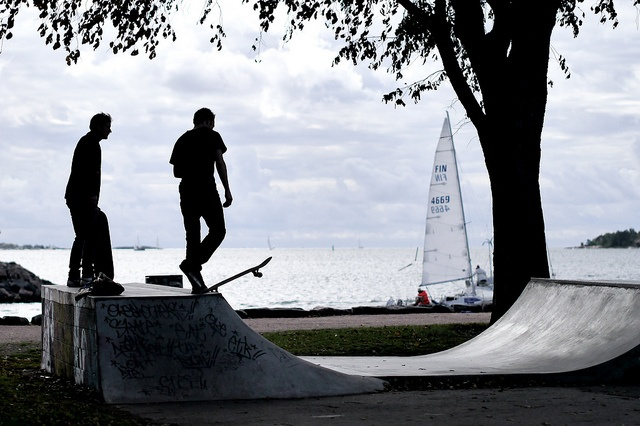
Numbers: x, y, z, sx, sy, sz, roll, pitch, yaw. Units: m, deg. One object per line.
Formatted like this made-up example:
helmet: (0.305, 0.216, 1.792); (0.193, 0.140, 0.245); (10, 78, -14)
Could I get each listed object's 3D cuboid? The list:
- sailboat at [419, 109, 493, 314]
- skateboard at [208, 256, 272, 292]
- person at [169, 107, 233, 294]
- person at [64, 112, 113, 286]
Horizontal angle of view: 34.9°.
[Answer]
sailboat: (5.540, -0.095, 42.937); (2.735, 7.564, 16.273); (-1, -2, 7)
skateboard: (-1.577, 1.242, 19.001); (1.535, 0.287, 0.328); (-24, 4, -5)
person: (-2.225, -0.263, 19.137); (1.070, 3.474, 0.643); (0, -1, -8)
person: (-4.651, -0.246, 20.330); (1.171, 3.456, 0.967); (3, 1, 41)
